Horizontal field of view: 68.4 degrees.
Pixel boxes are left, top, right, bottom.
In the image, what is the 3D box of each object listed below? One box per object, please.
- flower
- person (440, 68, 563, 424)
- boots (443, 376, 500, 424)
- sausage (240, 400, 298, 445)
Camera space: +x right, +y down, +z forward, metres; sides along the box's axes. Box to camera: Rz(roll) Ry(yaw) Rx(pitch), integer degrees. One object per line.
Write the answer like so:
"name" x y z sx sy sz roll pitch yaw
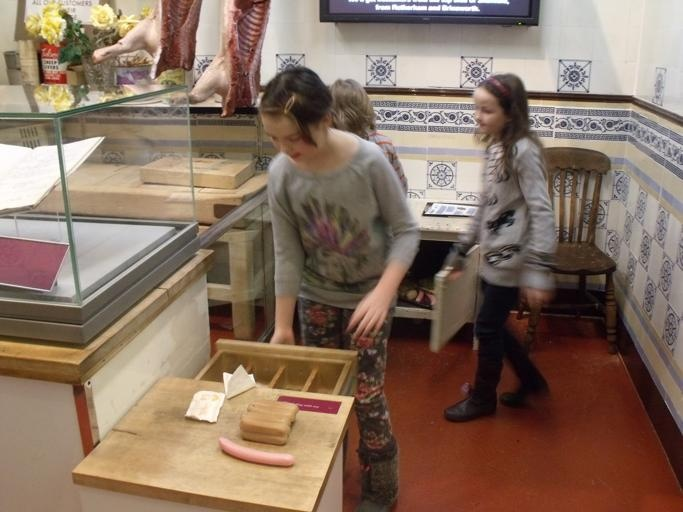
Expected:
"flower" -1.275 -1.167 2.565 0.510 0.357 1.091 -13 23 -35
"person" 0.787 0.027 2.466 0.500 1.736 0.440 9 20 28
"boots" 0.630 0.792 2.679 0.361 0.273 0.146 -5 19 5
"sausage" -0.169 0.390 1.214 0.088 0.034 0.090 4 20 7
